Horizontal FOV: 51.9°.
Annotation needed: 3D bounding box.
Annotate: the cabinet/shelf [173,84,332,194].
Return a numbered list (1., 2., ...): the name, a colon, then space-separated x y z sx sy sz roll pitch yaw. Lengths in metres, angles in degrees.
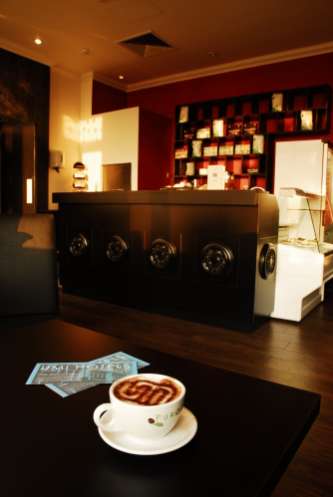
1. cabinet/shelf: 1.302 -1.745 5.718 2.614 1.569 0.499 2 -1 31

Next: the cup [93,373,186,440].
1. cup: -0.027 0.173 0.424 0.085 0.047 0.070 -6 10 -26
